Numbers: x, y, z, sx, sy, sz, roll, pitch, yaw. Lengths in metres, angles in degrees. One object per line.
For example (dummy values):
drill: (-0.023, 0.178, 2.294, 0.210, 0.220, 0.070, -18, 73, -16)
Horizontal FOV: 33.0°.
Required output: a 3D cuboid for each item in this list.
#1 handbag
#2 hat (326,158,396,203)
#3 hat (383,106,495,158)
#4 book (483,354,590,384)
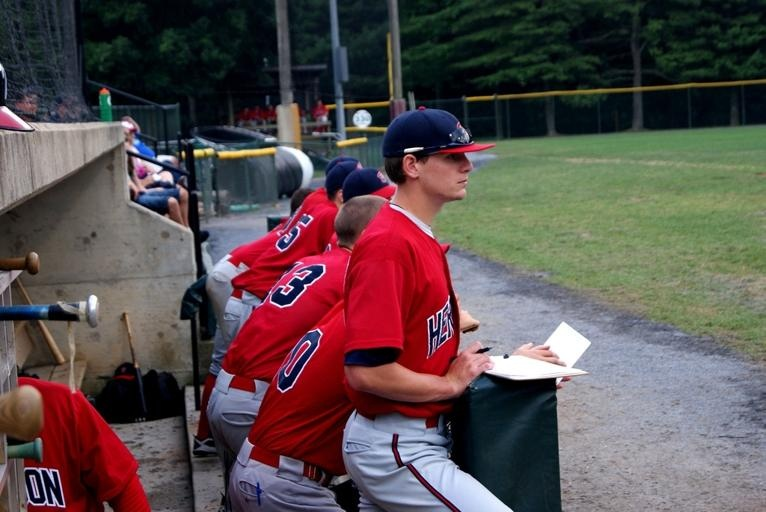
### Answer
handbag: (-3.177, 1.850, 16.824, 1.543, 0.683, 0.496, 1, 44, 1)
hat: (-0.203, -0.854, 14.973, 0.596, 0.306, 0.361, -2, 18, -3)
hat: (0.451, -1.082, 13.592, 1.405, 0.779, 0.518, 1, 25, 1)
book: (1.499, 1.133, 13.728, 0.994, 0.237, 1.204, 0, 5, -24)
